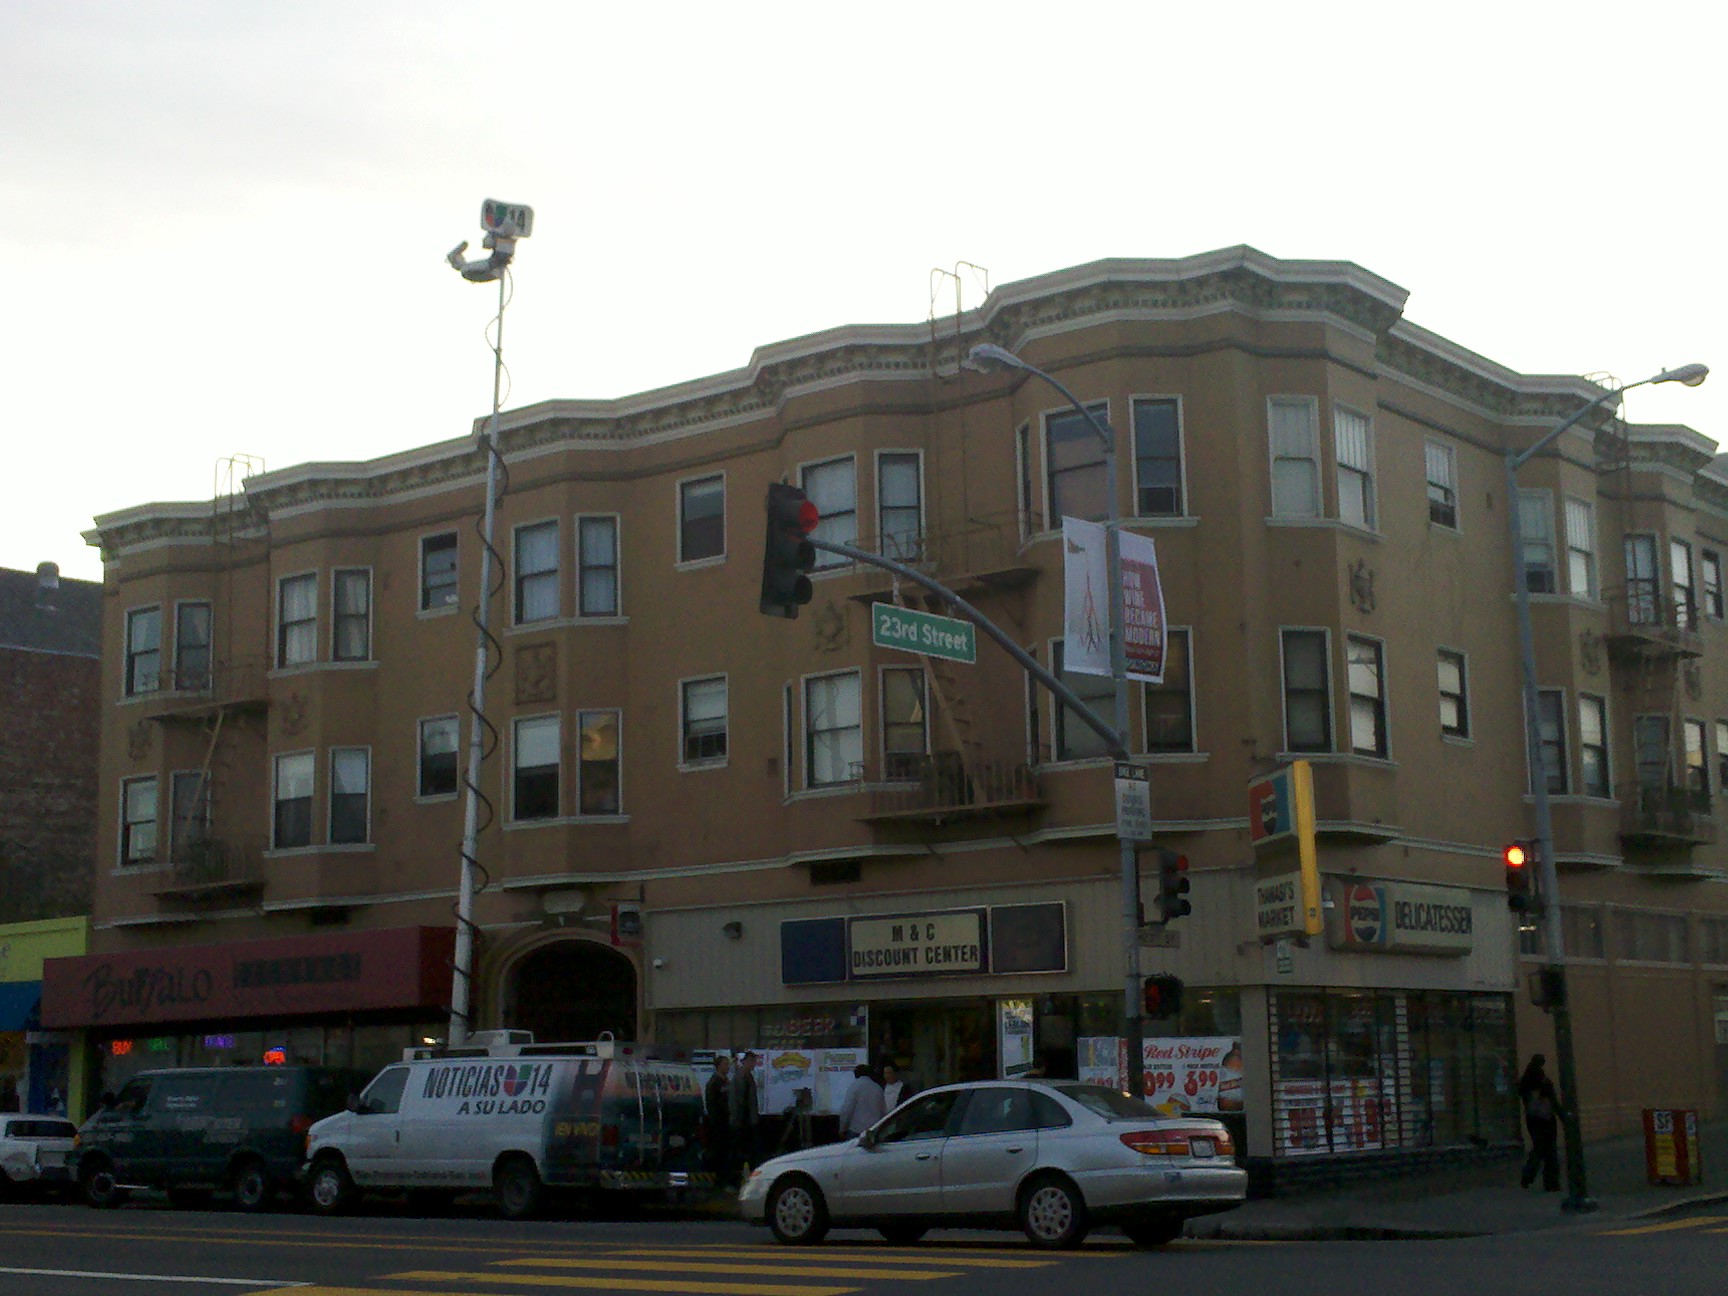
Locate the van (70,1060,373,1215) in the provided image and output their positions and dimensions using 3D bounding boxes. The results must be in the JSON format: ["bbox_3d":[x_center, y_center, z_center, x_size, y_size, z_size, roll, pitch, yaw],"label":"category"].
[{"bbox_3d":[-10.935,8.239,39.104,4.632,2.119,2.413,-2,-12,31],"label":"van"}]

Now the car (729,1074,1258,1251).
[{"bbox_3d":[1.628,6.627,30.032,5.894,2.115,2.518,-5,-12,31],"label":"car"}]
